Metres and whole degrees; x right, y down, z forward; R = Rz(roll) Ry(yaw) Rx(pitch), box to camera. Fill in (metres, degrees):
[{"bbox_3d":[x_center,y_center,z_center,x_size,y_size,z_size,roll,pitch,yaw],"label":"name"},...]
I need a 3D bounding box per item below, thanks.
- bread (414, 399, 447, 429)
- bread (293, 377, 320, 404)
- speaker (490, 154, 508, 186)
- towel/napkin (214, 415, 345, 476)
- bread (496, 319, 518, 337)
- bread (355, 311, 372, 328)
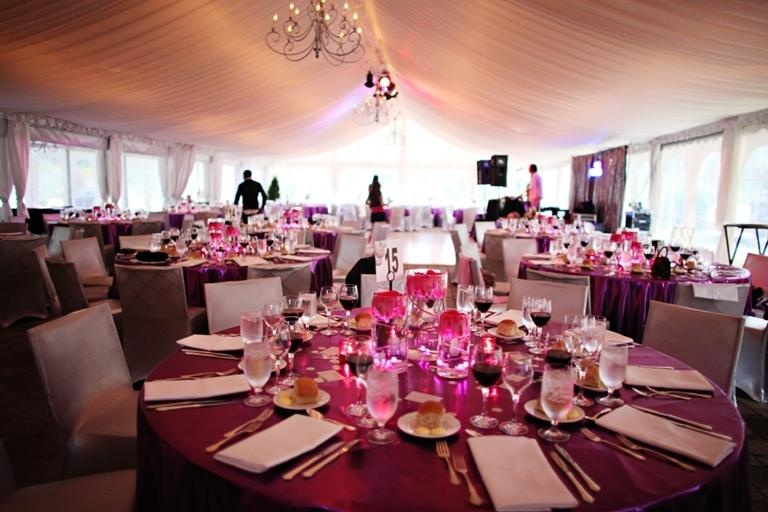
[{"bbox_3d":[0.185,0.658,2.130,0.096,0.085,0.105,-1,5,12],"label":"bread"},{"bbox_3d":[-0.352,0.606,2.256,0.080,0.107,0.107,-8,17,-34],"label":"bread"},{"bbox_3d":[2.855,-2.107,12.555,0.367,0.771,0.601,2,8,8],"label":"speaker"},{"bbox_3d":[-0.420,0.756,2.053,0.217,0.045,0.298,7,15,37],"label":"towel/napkin"},{"bbox_3d":[0.700,0.411,2.895,0.094,0.061,0.094,3,-4,-44],"label":"bread"},{"bbox_3d":[-0.124,0.381,2.968,0.077,0.084,0.046,-3,-26,6],"label":"bread"}]
